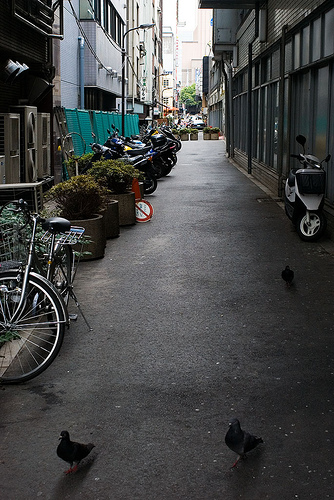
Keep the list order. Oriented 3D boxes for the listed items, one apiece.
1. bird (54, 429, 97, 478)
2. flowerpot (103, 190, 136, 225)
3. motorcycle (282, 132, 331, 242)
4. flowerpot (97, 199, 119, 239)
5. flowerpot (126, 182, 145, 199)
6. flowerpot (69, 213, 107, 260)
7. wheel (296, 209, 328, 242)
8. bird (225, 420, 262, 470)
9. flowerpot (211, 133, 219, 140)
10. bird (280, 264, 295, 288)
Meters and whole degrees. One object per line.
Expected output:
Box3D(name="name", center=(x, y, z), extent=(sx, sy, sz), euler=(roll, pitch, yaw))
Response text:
Box3D(name="bird", center=(-0.378, 0.811, 1.570), extent=(0.092, 0.173, 0.212), euler=(-4, -12, 23))
Box3D(name="flowerpot", center=(-1.244, -1.139, 10.283), extent=(0.594, 0.724, 0.859), euler=(-2, 6, 4))
Box3D(name="motorcycle", center=(3.203, -1.247, 9.024), extent=(0.639, 2.048, 1.127), euler=(-1, -1, -13))
Box3D(name="flowerpot", center=(-1.333, -0.734, 8.985), extent=(0.364, 0.803, 0.565), euler=(3, 19, 2))
Box3D(name="flowerpot", center=(-1.080, -1.995, 12.826), extent=(0.545, 0.722, 0.592), euler=(-1, 7, -1))
Box3D(name="flowerpot", center=(-1.481, -0.282, 7.273), extent=(0.529, 0.803, 0.635), euler=(2, 17, 0))
Box3D(name="wheel", center=(3.334, -0.553, 8.806), extent=(0.208, 0.629, 0.533), euler=(9, 10, -44))
Box3D(name="bird", center=(0.325, 0.805, 1.625), extent=(0.148, 0.223, 0.105), euler=(-7, 5, -15))
Box3D(name="flowerpot", center=(8.412, -20.134, 67.702), extent=(1.179, 1.310, 0.920), euler=(0, 19, 2))
Box3D(name="bird", center=(1.871, 0.403, 5.922), extent=(0.194, 0.281, 0.432), euler=(-1, 0, 19))
